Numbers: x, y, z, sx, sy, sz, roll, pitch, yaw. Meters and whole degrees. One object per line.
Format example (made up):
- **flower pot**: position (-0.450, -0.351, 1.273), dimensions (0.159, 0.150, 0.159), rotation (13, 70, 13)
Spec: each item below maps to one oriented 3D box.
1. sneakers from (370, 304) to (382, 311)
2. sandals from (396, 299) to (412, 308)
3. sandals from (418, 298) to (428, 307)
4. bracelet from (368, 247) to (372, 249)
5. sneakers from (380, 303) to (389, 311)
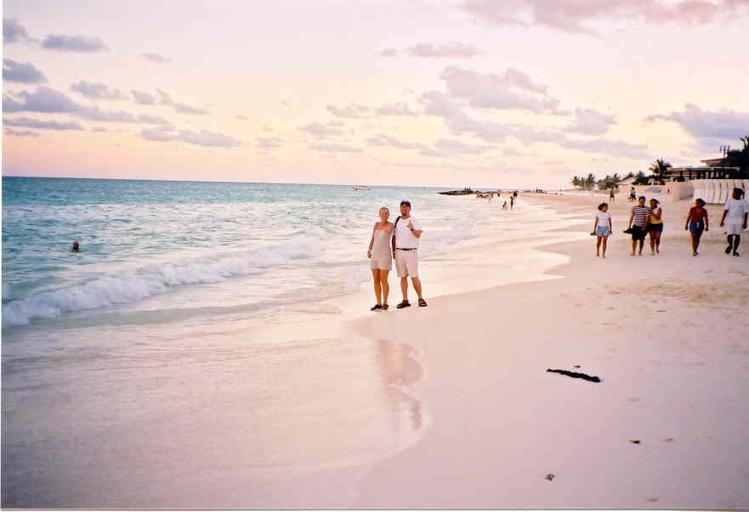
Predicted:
- **sneakers**: position (0.032, 1.181, 11.800), dimensions (0.359, 0.125, 0.112), rotation (0, -5, 17)
- **sandals**: position (0.669, 1.094, 11.645), dimensions (0.149, 0.127, 0.367), rotation (-7, -7, 34)
- **sandals**: position (1.083, 1.058, 11.623), dimensions (0.166, 0.138, 0.424), rotation (-3, -9, 3)
- **bracelet**: position (-0.085, -0.185, 11.581), dimensions (0.051, 0.047, 0.046), rotation (1, -5, 0)
- **sneakers**: position (0.225, 1.152, 11.679), dimensions (0.158, 0.127, 0.366), rotation (-2, -7, 7)
